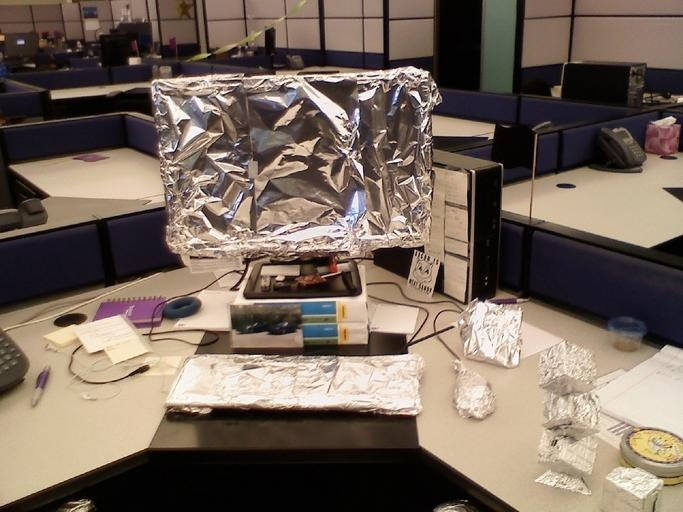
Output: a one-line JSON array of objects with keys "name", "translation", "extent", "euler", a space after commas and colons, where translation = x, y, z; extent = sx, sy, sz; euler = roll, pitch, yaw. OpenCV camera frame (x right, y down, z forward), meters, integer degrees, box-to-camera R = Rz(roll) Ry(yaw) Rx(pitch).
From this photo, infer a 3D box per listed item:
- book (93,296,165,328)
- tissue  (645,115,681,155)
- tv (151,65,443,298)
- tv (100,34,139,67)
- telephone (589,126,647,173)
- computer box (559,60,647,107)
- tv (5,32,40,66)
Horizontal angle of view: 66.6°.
[{"name": "book", "translation": [-0.624, 0.163, 1.552], "extent": [0.112, 0.041, 0.121], "euler": [-2, 26, -2]}, {"name": "tissue ", "translation": [1.836, -0.697, 2.973], "extent": [0.203, 0.275, 0.149], "euler": [8, 27, 32]}, {"name": "tv", "translation": [-0.105, -0.185, 1.384], "extent": [0.720, 0.549, 0.068], "euler": [-2, 13, -2]}, {"name": "tv", "translation": [-2.765, -2.561, 6.440], "extent": [0.422, 0.355, 0.259], "euler": [-12, 25, -21]}, {"name": "telephone", "translation": [1.506, -0.584, 2.792], "extent": [0.289, 0.202, 0.267], "euler": [16, 30, 40]}, {"name": "computer box", "translation": [1.638, -1.079, 3.267], "extent": [0.427, 0.277, 0.235], "euler": [19, 34, 36]}, {"name": "tv", "translation": [-5.353, -3.491, 8.694], "extent": [0.538, 0.458, 0.377], "euler": [-15, 26, -28]}]
